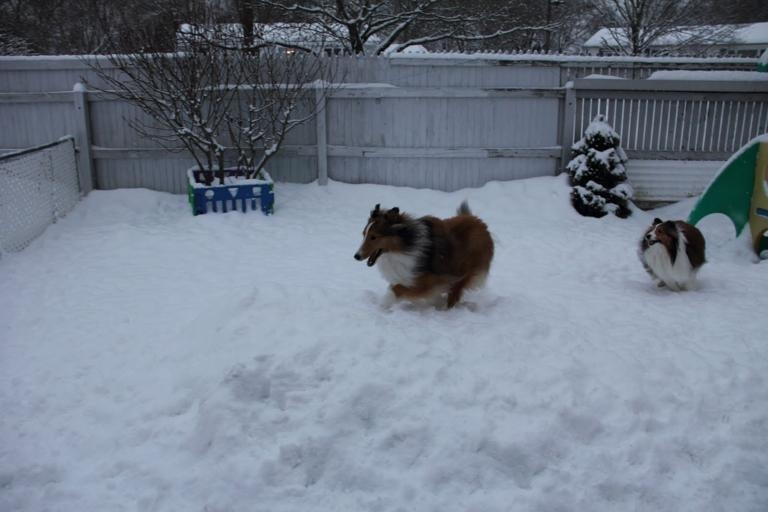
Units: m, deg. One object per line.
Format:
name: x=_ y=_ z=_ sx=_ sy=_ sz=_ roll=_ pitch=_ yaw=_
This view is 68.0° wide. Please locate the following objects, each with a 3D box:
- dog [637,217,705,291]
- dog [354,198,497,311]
dog: x=3.952 y=-0.011 z=7.781 sx=0.626 sy=0.880 sz=1.107 roll=-5 pitch=14 yaw=38
dog: x=0.574 y=-0.043 z=7.464 sx=2.348 sy=1.364 sz=0.707 roll=-9 pitch=11 yaw=-44
